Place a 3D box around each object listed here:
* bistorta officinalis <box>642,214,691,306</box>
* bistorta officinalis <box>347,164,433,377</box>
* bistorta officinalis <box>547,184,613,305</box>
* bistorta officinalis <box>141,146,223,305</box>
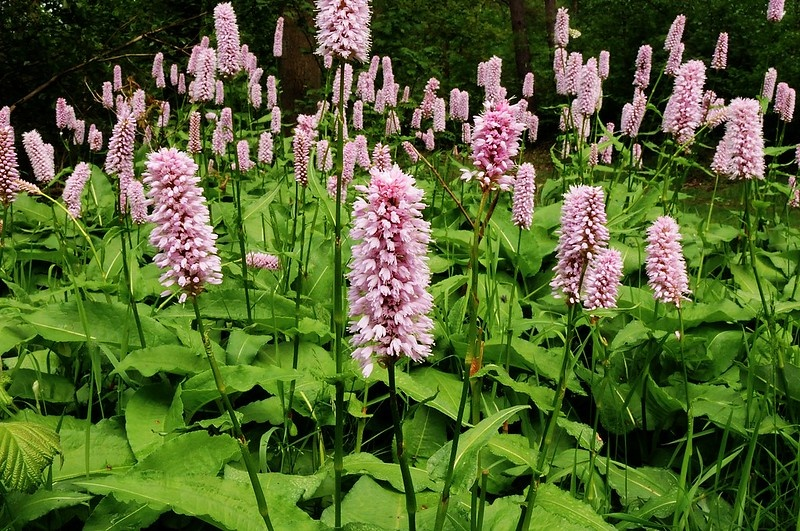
[{"bbox_3d":[1.886,-0.019,5.198,0.292,0.671,0.516,3,9,22],"label":"bistorta officinalis"},{"bbox_3d":[-0.046,0.031,3.948,0.456,1.123,0.253,0,8,-4],"label":"bistorta officinalis"},{"bbox_3d":[1.138,-0.151,4.683,0.296,0.713,0.357,-3,9,-19],"label":"bistorta officinalis"},{"bbox_3d":[-1.210,-0.229,4.142,0.387,0.862,0.316,-3,9,-20],"label":"bistorta officinalis"}]
